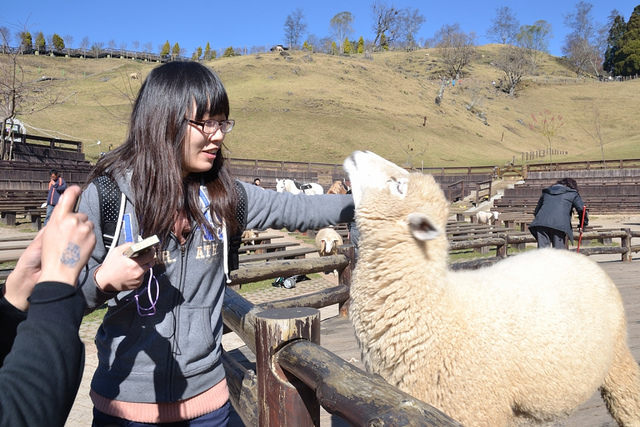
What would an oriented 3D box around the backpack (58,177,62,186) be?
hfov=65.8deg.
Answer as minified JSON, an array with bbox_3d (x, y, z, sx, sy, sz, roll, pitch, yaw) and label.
[{"bbox_3d":[-6.274,-0.773,11.979,0.071,0.245,0.171,-9,12,-27],"label":"backpack"}]

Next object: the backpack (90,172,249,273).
[{"bbox_3d":[-0.810,0.011,2.699,0.706,0.636,0.478,3,-4,-24],"label":"backpack"}]

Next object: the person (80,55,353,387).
[{"bbox_3d":[-0.570,0.062,2.506,1.143,1.664,0.613,-1,5,-28],"label":"person"}]

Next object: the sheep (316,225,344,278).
[{"bbox_3d":[0.137,0.706,9.756,0.593,1.058,0.547,3,-10,-13],"label":"sheep"}]

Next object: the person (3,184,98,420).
[{"bbox_3d":[-1.021,0.309,1.846,0.320,0.824,0.411,0,5,-25],"label":"person"}]

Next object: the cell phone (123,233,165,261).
[{"bbox_3d":[-0.736,0.130,2.104,0.113,0.032,0.119,-9,-29,-47],"label":"cell phone"}]

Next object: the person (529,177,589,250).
[{"bbox_3d":[3.625,0.162,7.587,0.738,1.465,0.681,6,-1,39],"label":"person"}]
